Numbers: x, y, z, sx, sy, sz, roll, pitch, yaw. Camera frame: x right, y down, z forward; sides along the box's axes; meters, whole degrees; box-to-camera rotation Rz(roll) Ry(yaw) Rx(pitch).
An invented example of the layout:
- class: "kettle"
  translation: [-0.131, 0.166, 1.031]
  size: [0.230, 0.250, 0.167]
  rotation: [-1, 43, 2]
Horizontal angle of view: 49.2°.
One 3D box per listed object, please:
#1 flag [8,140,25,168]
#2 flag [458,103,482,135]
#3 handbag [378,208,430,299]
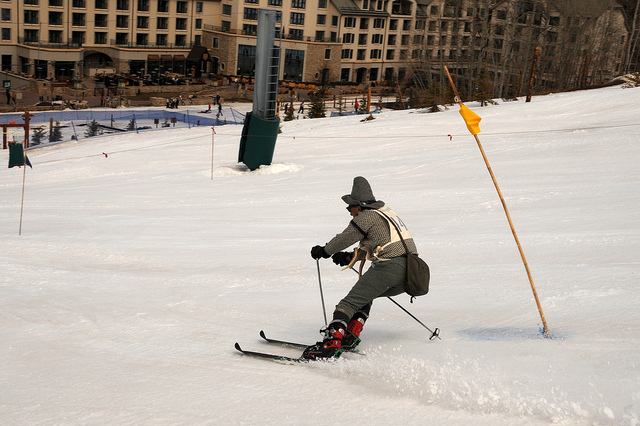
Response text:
- class: "flag"
  translation: [-9.919, -1.852, 22.692]
  size: [0.476, 0.792, 0.698]
  rotation: [-4, 8, -23]
- class: "flag"
  translation: [1.969, -1.261, 9.291]
  size: [0.191, 0.342, 0.129]
  rotation: [-36, 10, -15]
- class: "handbag"
  translation: [1.031, 0.510, 8.581]
  size: [0.593, 1.043, 0.274]
  rotation: [0, 9, 2]
